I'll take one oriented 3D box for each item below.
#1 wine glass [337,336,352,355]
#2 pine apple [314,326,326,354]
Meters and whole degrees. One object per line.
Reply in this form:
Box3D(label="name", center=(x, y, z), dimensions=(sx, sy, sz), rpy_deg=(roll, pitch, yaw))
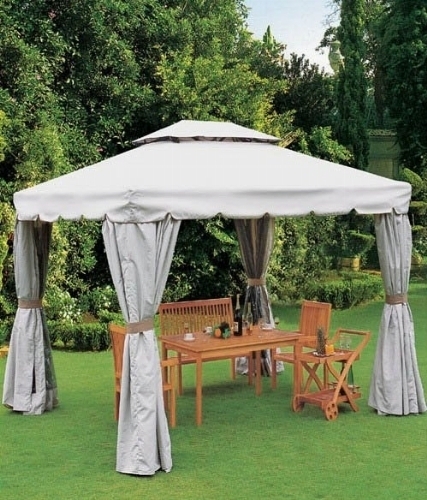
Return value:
Box3D(label="wine glass", center=(1.516, 1.085, 9.012), dimensions=(0.127, 0.179, 0.364), rpy_deg=(1, 5, 8))
Box3D(label="pine apple", center=(1.206, 1.031, 8.761), dimensions=(0.103, 0.280, 0.167), rpy_deg=(1, 4, 8))
